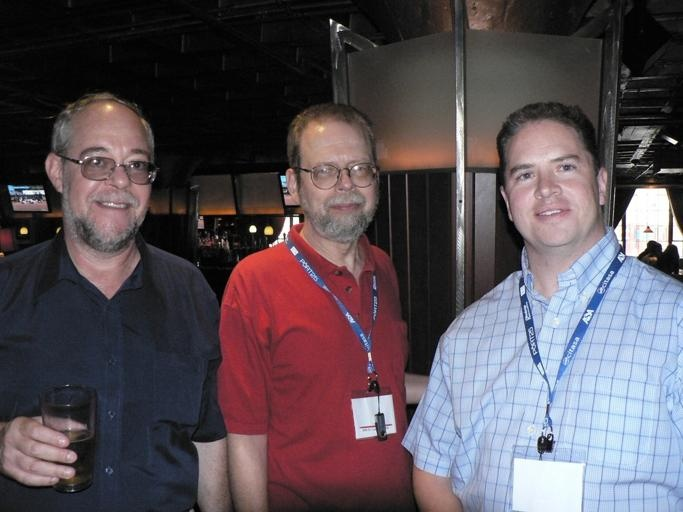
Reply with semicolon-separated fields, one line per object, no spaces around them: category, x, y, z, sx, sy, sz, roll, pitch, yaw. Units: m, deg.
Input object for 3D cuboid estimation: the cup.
cup;-0.893;0.614;1.910;0.150;0.380;0.176;-3;1;-45
